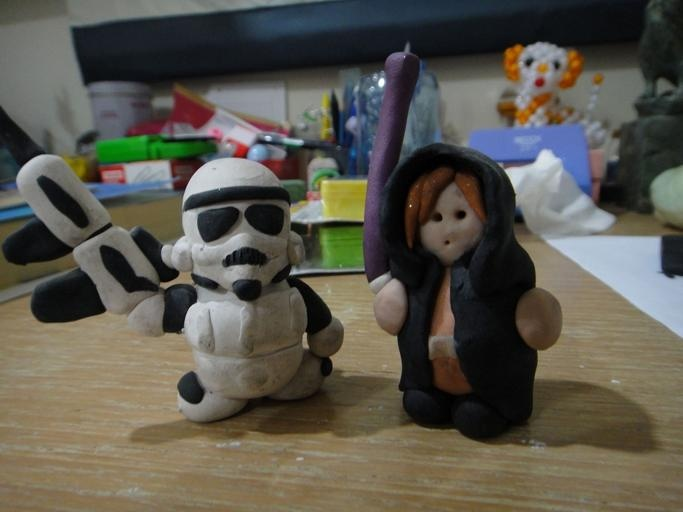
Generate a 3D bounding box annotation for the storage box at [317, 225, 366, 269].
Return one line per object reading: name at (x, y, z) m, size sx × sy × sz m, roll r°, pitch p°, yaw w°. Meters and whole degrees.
storage box at (0.041, -0.024, 1.563) m, size 0.120 × 0.085 × 0.122 m, roll 0°, pitch -5°, yaw 22°

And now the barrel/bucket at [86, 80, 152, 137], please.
barrel/bucket at (-0.750, -0.508, 2.452) m, size 0.201 × 0.200 × 0.204 m, roll -1°, pitch 12°, yaw 0°

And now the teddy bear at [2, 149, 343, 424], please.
teddy bear at (-0.277, 0.067, 1.143) m, size 0.477 × 0.445 × 0.183 m, roll -9°, pitch 2°, yaw -11°

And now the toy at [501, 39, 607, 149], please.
toy at (0.607, -0.459, 1.952) m, size 0.333 × 0.367 × 0.186 m, roll -3°, pitch 34°, yaw 21°

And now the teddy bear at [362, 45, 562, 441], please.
teddy bear at (0.147, -0.017, 1.010) m, size 0.202 × 0.489 × 0.322 m, roll -18°, pitch 32°, yaw -28°

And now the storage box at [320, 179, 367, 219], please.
storage box at (0.007, -0.119, 1.467) m, size 0.088 × 0.056 × 0.089 m, roll -2°, pitch 8°, yaw -7°
